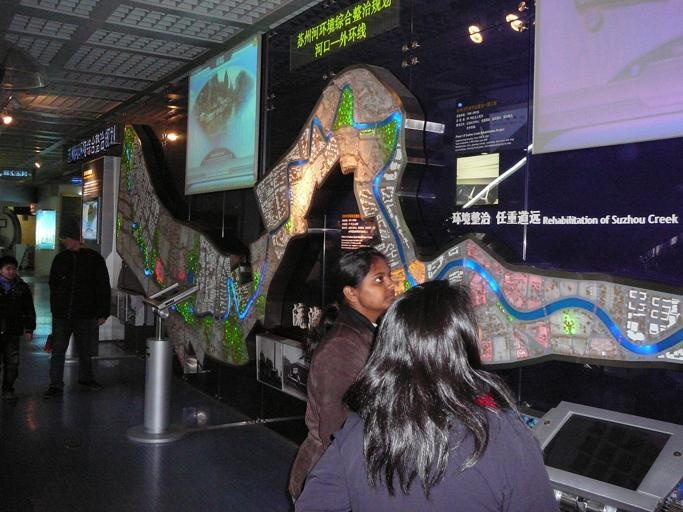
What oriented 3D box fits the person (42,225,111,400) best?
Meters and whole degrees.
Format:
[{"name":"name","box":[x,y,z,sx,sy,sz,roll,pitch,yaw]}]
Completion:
[{"name":"person","box":[-3.525,0.672,6.452,0.705,2.565,0.500,2,-1,-33]}]

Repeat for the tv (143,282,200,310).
[{"name":"tv","box":[-1.861,0.433,5.261,0.484,0.292,0.519,2,0,-33]}]
